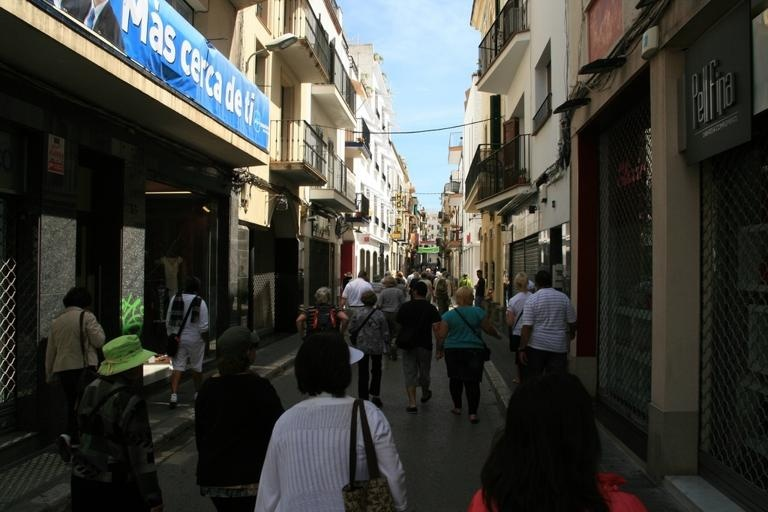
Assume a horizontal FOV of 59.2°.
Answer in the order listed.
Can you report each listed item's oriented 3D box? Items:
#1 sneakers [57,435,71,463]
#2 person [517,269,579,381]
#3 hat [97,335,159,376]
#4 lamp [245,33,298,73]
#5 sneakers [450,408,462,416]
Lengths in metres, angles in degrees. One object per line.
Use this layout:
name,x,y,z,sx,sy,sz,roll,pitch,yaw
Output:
sneakers,-2.903,1.762,6.154,0.111,0.274,0.301,4,-5,-25
person,2.528,1.276,10.230,0.851,2.249,0.556,-3,21,1
hat,-2.325,0.877,6.197,0.329,0.221,0.397,-10,10,25
lamp,-2.526,-4.649,15.197,1.212,0.458,0.563,-16,-1,7
sneakers,1.160,2.462,10.699,0.150,0.102,0.307,4,-5,-18
